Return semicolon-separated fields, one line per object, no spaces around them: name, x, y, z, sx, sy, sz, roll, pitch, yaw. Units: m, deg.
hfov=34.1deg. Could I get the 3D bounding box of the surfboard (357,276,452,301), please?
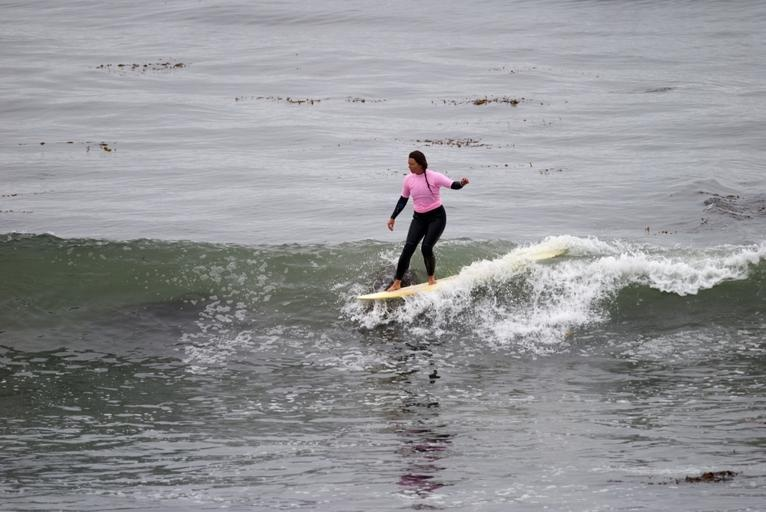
surfboard;0.827;1.139;43.125;5.373;0.228;0.513;-5;35;-13
